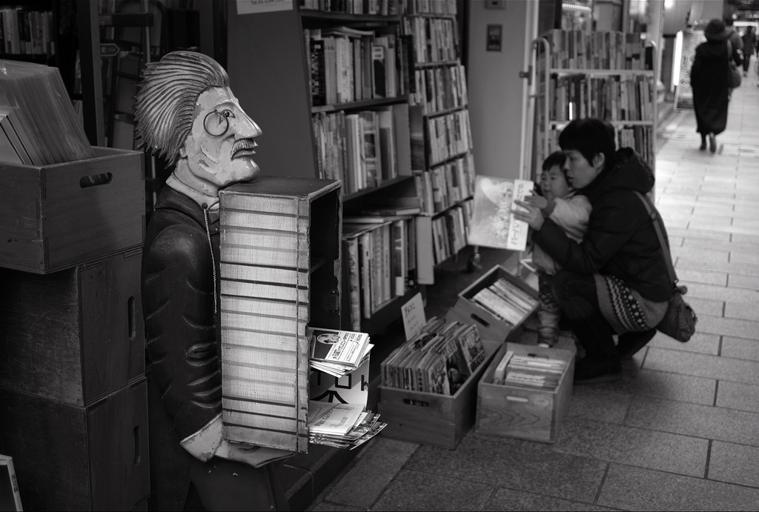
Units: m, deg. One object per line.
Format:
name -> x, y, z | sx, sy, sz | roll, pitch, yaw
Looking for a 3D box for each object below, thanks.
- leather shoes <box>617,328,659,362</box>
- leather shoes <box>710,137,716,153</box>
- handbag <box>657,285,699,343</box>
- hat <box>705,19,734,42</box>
leather shoes -> 1.640, 0.542, 3.845 | 0.204, 0.080, 0.257 | -15, -23, -50
leather shoes -> 6.318, -2.088, 11.378 | 0.124, 0.332, 0.137 | 2, 35, 24
handbag -> 1.857, 0.354, 3.695 | 0.223, 0.341, 0.177 | -14, 22, -27
hat -> 6.355, -4.238, 11.313 | 0.361, 0.380, 0.765 | 14, 26, 40
